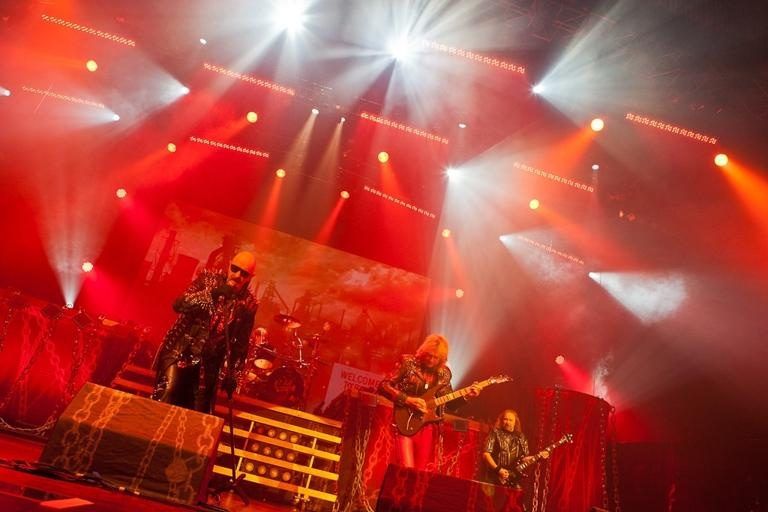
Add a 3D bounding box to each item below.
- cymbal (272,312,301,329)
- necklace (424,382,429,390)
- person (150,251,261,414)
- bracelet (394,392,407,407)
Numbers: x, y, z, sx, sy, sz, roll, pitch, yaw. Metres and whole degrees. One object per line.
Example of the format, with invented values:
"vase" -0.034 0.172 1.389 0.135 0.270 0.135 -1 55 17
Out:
"cymbal" -2.197 1.464 15.225 0.656 0.231 0.695 22 -27 -6
"necklace" 0.779 2.341 11.849 0.085 0.145 0.086 -6 -18 25
"person" -2.643 1.150 10.086 1.344 2.483 1.068 27 -29 -12
"bracelet" 0.320 2.520 11.611 0.249 0.237 0.179 6 -7 2
